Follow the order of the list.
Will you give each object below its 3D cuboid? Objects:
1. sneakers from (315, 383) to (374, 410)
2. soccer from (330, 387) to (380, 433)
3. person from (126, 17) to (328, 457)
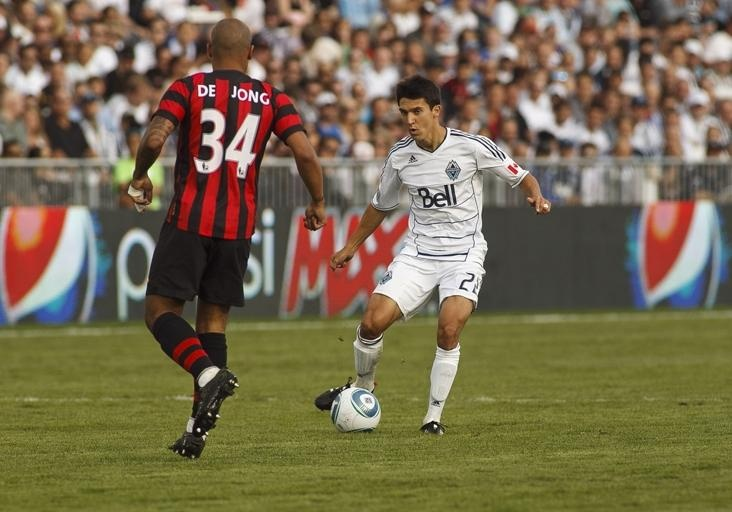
[{"bbox_3d":[-0.253,1.268,11.768,0.295,0.092,0.225,-32,5,21],"label":"sneakers"},{"bbox_3d":[-0.088,1.308,11.469,0.398,0.323,0.231,-1,10,-4],"label":"soccer"},{"bbox_3d":[-1.142,-0.180,10.933,1.242,3.412,0.883,-7,12,-35],"label":"person"}]
